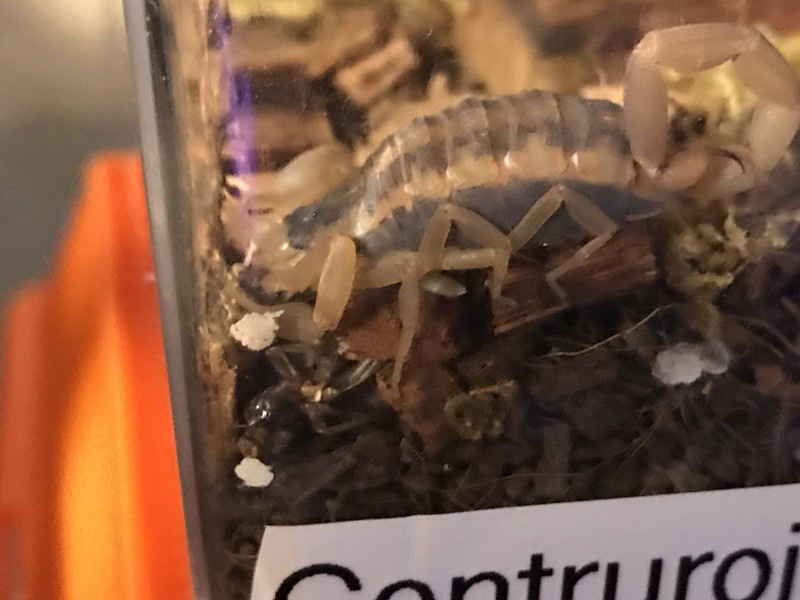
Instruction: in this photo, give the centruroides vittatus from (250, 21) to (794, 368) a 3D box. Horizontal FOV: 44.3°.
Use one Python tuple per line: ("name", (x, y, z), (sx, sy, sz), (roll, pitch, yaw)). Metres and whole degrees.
("centruroides vittatus", (0.079, -0.087, 0.743), (0.418, 0.217, 0.173), (-17, 36, 3))
